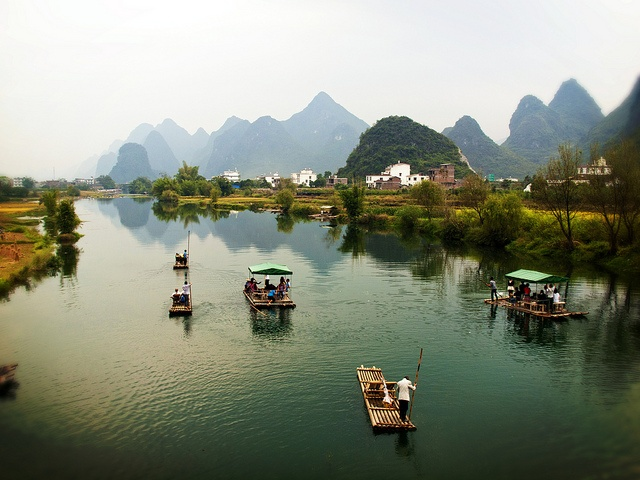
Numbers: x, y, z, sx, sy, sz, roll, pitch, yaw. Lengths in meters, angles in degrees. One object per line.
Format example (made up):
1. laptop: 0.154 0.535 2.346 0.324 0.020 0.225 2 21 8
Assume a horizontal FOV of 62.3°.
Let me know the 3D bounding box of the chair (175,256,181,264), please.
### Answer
1. chair: -19.394 2.759 73.013 0.802 0.771 1.377 7 38 -18

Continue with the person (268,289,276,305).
1. person: -4.984 6.059 55.811 0.855 0.831 1.915 -3 46 10

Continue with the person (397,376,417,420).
1. person: 6.135 11.372 37.893 0.864 3.050 1.027 -1 9 -7

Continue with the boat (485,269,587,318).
1. boat: 22.059 6.009 56.918 4.584 3.342 8.810 -4 8 -25
